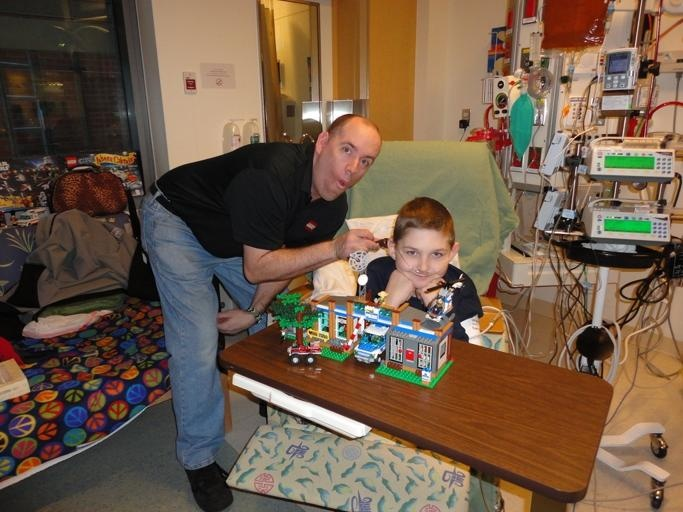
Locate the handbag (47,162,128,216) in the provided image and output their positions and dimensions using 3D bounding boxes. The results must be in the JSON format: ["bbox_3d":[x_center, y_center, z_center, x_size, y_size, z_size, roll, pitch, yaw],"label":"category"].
[{"bbox_3d":[-1.852,-0.419,3.651,0.638,0.166,0.548,-17,-16,36],"label":"handbag"}]

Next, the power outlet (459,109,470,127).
[{"bbox_3d":[1.288,-1.444,5.302,0.028,0.210,0.140,-14,21,-36],"label":"power outlet"}]

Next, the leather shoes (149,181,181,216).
[{"bbox_3d":[-0.862,-0.280,2.436,0.171,0.061,0.125,38,7,-36],"label":"leather shoes"}]
